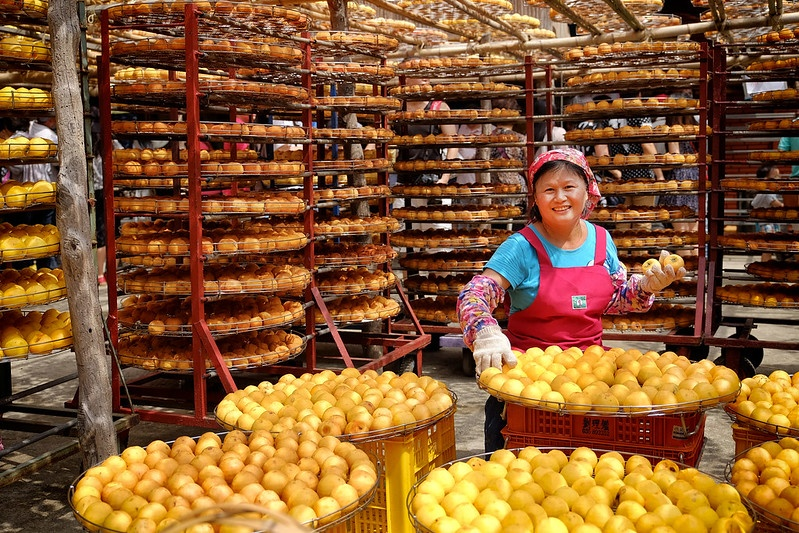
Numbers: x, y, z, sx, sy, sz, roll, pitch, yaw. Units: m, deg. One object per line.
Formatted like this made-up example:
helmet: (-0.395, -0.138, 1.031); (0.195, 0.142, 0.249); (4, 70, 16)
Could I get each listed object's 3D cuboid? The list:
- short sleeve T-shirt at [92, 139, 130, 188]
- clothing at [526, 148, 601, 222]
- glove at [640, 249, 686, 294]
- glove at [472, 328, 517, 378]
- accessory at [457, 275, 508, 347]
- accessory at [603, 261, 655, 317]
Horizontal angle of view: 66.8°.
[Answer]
short sleeve T-shirt: (-6.031, -2.285, 13.106); (0.887, 0.719, 0.195); (-16, -30, -14)
clothing: (1.169, -0.564, 4.268); (0.547, 0.502, 0.301); (0, 7, 5)
glove: (1.723, 0.046, 3.996); (0.258, 0.307, 0.225); (2, 11, 22)
glove: (0.548, 0.501, 3.562); (0.283, 0.260, 0.091); (-3, -9, 5)
accessory: (0.540, 0.309, 3.884); (0.342, 0.200, 0.474); (-14, 33, 19)
accessory: (1.626, 0.175, 4.336); (0.356, 0.158, 0.396); (-7, 12, -12)
